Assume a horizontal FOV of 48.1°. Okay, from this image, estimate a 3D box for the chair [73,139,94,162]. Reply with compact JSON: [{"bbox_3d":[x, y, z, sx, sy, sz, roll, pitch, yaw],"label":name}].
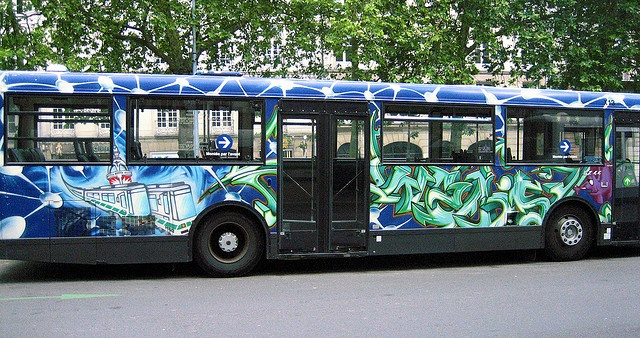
[{"bbox_3d":[-7.176,-0.567,21.866,0.677,0.736,0.557,2,11,3],"label":"chair"}]
